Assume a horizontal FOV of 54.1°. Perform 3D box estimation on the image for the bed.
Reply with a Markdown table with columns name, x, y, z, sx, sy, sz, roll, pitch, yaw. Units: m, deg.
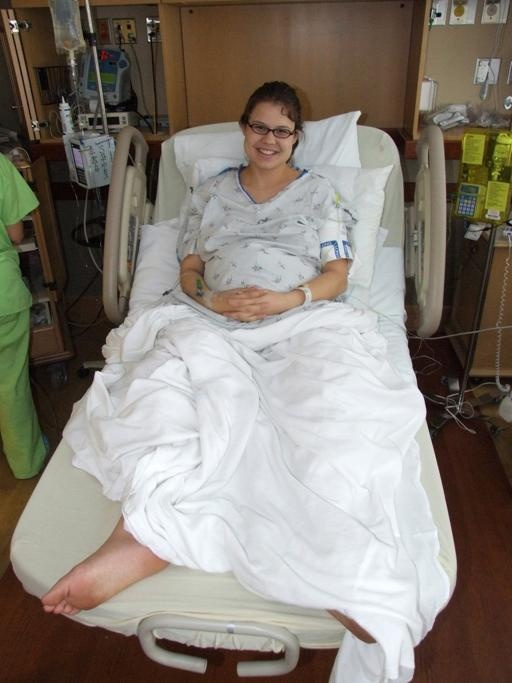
| name | x | y | z | sx | sy | sz | roll | pitch | yaw |
| --- | --- | --- | --- | --- | --- | --- | --- | --- | --- |
| bed | 0.036 | -0.012 | 1.086 | 0.616 | 0.374 | 1.094 | 3 | 43 | 9 |

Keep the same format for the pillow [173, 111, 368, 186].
| name | x | y | z | sx | sy | sz | roll | pitch | yaw |
| --- | --- | --- | --- | --- | --- | --- | --- | --- | --- |
| pillow | 0.034 | -0.725 | 1.859 | 0.566 | 0.231 | 0.336 | -3 | 61 | 9 |
